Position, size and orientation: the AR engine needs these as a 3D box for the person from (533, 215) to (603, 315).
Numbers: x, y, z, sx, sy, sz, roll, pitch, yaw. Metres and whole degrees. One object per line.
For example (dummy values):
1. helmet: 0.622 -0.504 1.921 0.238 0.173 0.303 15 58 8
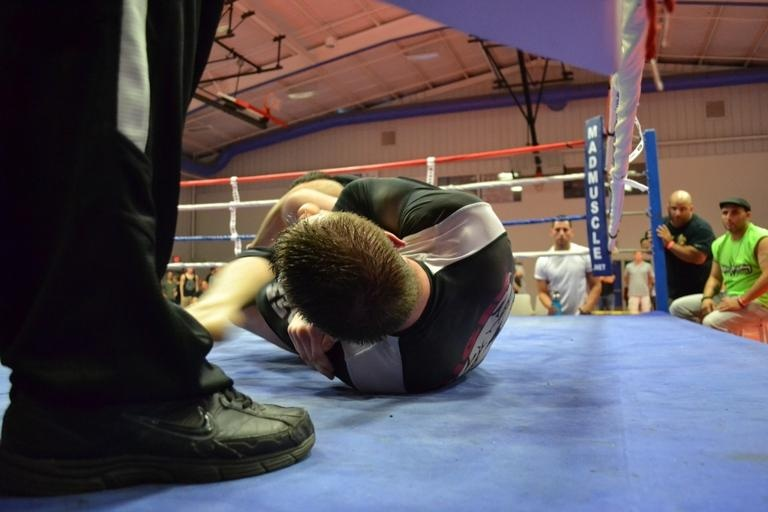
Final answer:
1. person: 1.827 0.204 5.242 0.633 1.099 0.618 -4 3 16

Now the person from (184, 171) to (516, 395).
1. person: -0.083 0.145 2.106 0.907 0.582 1.468 6 4 11

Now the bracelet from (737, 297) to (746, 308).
1. bracelet: 2.617 0.330 3.841 0.061 0.083 0.044 -4 4 -29

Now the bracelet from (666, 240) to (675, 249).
1. bracelet: 2.336 -0.097 4.289 0.070 0.069 0.045 1 28 -45
